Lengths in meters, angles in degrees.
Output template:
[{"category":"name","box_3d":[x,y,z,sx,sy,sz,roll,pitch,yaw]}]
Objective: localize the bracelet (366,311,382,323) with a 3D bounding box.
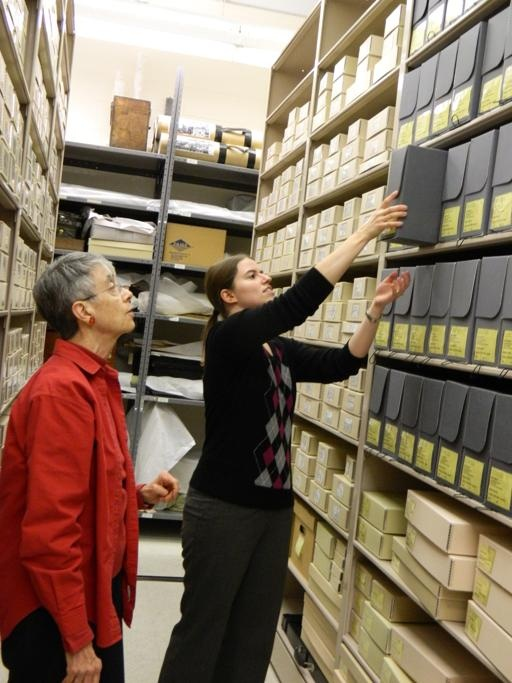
[{"category":"bracelet","box_3d":[0.326,-0.068,1.278,0.028,0.033,0.013,-4,31,-16]}]
